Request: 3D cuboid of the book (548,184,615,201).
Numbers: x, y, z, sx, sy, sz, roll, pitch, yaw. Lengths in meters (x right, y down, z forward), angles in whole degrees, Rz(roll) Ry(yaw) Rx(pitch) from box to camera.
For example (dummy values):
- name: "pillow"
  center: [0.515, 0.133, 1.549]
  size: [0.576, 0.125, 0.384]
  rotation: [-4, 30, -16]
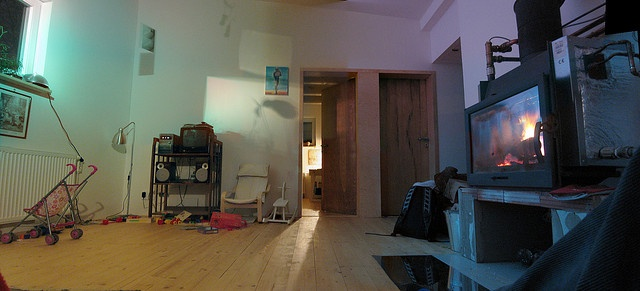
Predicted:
- name: "book"
  center: [3.504, 0.633, 5.152]
  size: [0.760, 0.207, 0.193]
  rotation: [-1, -3, 6]

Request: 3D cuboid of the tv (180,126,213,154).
- name: "tv"
  center: [-2.614, -0.096, 8.335]
  size: [0.686, 0.528, 0.593]
  rotation: [0, -5, -3]

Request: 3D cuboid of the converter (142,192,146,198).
- name: "converter"
  center: [-3.859, 1.083, 8.452]
  size: [0.141, 0.088, 0.032]
  rotation: [-2, 3, -2]

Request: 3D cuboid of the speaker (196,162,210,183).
- name: "speaker"
  center: [-2.468, 0.586, 8.124]
  size: [0.308, 0.360, 0.093]
  rotation: [6, -1, 3]

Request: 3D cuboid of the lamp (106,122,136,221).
- name: "lamp"
  center: [-4.264, 0.486, 8.191]
  size: [0.538, 2.072, 0.715]
  rotation: [0, -4, -16]

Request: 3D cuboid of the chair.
- name: "chair"
  center: [-1.519, 0.975, 8.086]
  size: [0.900, 0.972, 1.110]
  rotation: [1, -1, 2]

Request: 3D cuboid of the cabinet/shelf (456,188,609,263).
- name: "cabinet/shelf"
  center: [2.810, 1.188, 5.726]
  size: [2.171, 0.899, 1.068]
  rotation: [0, 7, -1]
